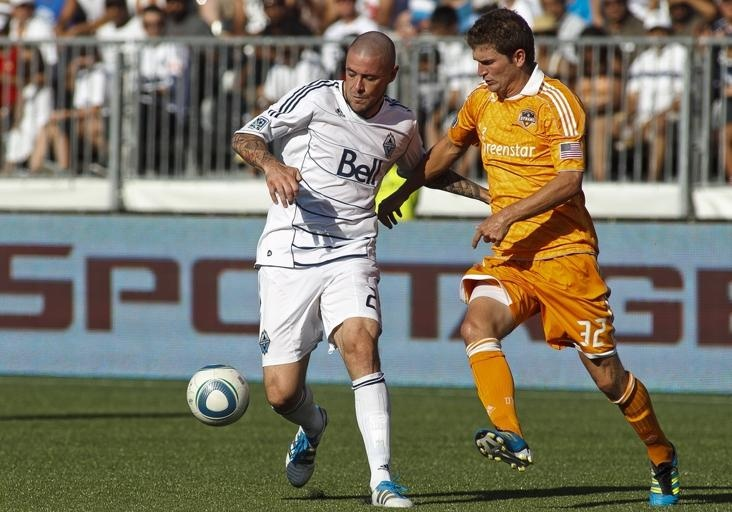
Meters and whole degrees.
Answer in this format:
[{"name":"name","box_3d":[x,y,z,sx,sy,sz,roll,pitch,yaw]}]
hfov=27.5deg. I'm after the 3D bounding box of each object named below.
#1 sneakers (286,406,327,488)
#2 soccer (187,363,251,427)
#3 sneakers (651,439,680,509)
[{"name":"sneakers","box_3d":[-0.480,1.478,11.476,0.230,0.692,0.263,13,1,14]},{"name":"soccer","box_3d":[-1.132,1.069,11.347,0.417,0.451,0.432,1,-7,0]},{"name":"sneakers","box_3d":[2.226,1.652,11.139,0.142,0.441,0.180,-1,-7,17]}]
